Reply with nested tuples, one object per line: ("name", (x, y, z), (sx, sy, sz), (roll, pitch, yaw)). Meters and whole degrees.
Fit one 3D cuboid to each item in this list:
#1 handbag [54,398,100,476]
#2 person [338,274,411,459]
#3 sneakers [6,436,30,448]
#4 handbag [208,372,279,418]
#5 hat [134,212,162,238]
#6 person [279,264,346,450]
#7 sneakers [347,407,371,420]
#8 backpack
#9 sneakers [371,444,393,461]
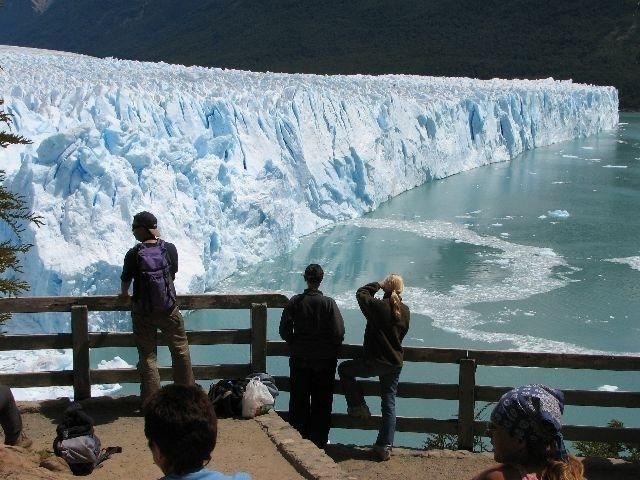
("handbag", (-2.273, 1.867, 6.823), (0.398, 0.623, 0.518), (-8, -10, 25))
("person", (0.554, 1.297, 7.525), (0.705, 1.884, 0.450), (-1, 9, 5))
("sneakers", (-2.750, 1.864, 6.731), (0.229, 0.138, 0.077), (-7, 55, -17))
("handbag", (-0.786, 1.559, 7.700), (0.834, 0.275, 0.546), (0, 13, 15))
("hat", (-1.727, -0.169, 7.362), (0.313, 0.173, 0.203), (27, 21, 17))
("person", (-0.082, 1.216, 7.528), (0.623, 1.900, 0.211), (-2, 9, -4))
("sneakers", (0.406, 1.790, 7.605), (0.232, 0.092, 0.126), (7, 11, 40))
("backpack", (-1.656, 0.381, 7.275), (0.392, 0.718, 0.292), (-6, 10, -27))
("sneakers", (0.635, 2.168, 7.464), (0.105, 0.104, 0.256), (1, 2, -7))
